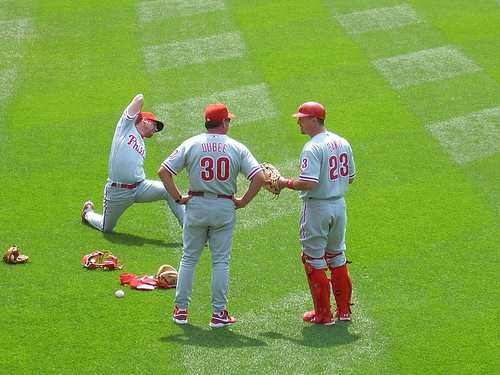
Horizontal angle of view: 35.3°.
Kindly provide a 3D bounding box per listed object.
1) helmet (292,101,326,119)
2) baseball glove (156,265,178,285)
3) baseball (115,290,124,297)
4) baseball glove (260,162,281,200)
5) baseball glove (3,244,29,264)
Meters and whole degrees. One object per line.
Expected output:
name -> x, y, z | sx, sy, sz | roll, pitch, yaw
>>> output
helmet -> 0.945, -1.198, 12.132 | 0.370, 0.162, 0.265 | 6, 6, 2
baseball glove -> -1.352, 1.424, 12.897 | 0.273, 0.253, 0.350 | -1, -1, 6
baseball -> -2.071, 1.687, 12.433 | 0.128, 0.099, 0.092 | -11, 23, -17
baseball glove -> 0.360, -0.045, 12.711 | 0.331, 0.433, 0.155 | 14, 57, -3
baseball glove -> -3.924, 1.113, 13.140 | 0.387, 0.263, 0.249 | 4, 11, -1
